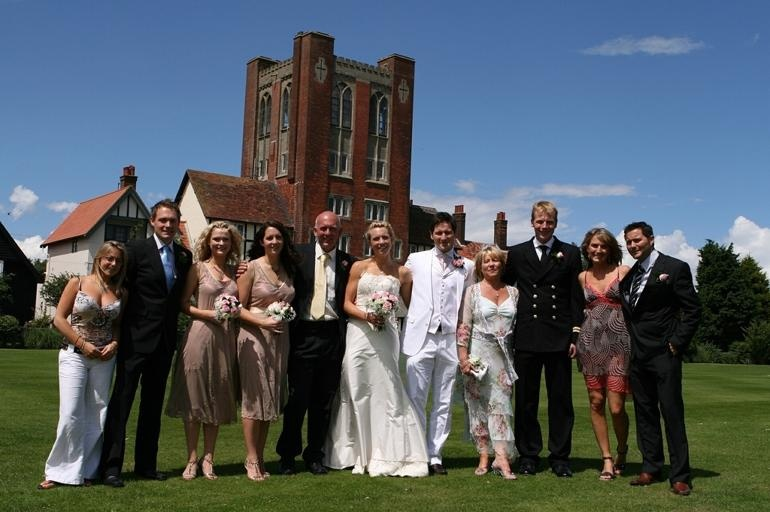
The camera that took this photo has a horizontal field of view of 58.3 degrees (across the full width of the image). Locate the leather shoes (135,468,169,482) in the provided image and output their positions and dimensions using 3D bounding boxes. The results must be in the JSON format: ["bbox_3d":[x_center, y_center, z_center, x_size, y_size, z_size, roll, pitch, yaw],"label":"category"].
[{"bbox_3d":[-3.167,2.944,9.308,0.433,0.176,0.163,-5,-8,15],"label":"leather shoes"}]

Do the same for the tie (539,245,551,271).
[{"bbox_3d":[2.362,0.013,10.093,0.101,0.408,0.117,-1,-19,14],"label":"tie"}]

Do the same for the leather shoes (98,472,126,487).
[{"bbox_3d":[-3.546,2.900,8.983,0.330,0.129,0.181,0,0,28],"label":"leather shoes"}]

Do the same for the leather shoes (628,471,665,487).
[{"bbox_3d":[3.570,3.013,9.377,0.509,0.209,0.172,13,-18,-28],"label":"leather shoes"}]

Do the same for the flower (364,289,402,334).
[{"bbox_3d":[-0.038,0.802,9.824,0.467,0.489,0.480,15,33,39],"label":"flower"}]

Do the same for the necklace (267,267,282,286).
[{"bbox_3d":[-1.565,0.301,9.720,0.178,0.254,0.066,0,-22,-46],"label":"necklace"}]

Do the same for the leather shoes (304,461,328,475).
[{"bbox_3d":[-0.984,3.019,9.866,0.131,0.112,0.269,4,-12,-28],"label":"leather shoes"}]

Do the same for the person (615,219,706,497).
[{"bbox_3d":[3.770,1.309,9.463,1.007,3.544,0.712,0,0,25],"label":"person"}]

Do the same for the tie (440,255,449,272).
[{"bbox_3d":[0.884,0.103,10.289,0.163,0.235,0.068,2,-4,-7],"label":"tie"}]

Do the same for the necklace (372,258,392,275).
[{"bbox_3d":[-0.043,0.171,10.187,0.267,0.210,0.177,-3,-2,4],"label":"necklace"}]

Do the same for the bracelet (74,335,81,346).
[{"bbox_3d":[-4.013,1.105,8.973,0.070,0.116,0.017,0,0,-6],"label":"bracelet"}]

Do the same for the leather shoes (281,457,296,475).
[{"bbox_3d":[-1.387,2.939,9.816,0.204,0.390,0.227,1,-3,-12],"label":"leather shoes"}]

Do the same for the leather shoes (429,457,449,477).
[{"bbox_3d":[0.776,3.009,9.905,0.266,0.173,0.321,0,0,-26],"label":"leather shoes"}]

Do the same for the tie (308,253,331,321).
[{"bbox_3d":[-0.955,0.427,9.961,0.270,0.936,0.189,0,0,-4],"label":"tie"}]

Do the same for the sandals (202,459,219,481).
[{"bbox_3d":[-2.396,2.865,9.400,0.176,0.258,0.291,0,0,-25],"label":"sandals"}]

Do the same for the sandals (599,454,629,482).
[{"bbox_3d":[3.242,2.985,9.733,0.201,0.299,0.684,-5,-17,25],"label":"sandals"}]

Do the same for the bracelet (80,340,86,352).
[{"bbox_3d":[-3.943,1.156,8.976,0.045,0.127,0.086,10,-10,-42],"label":"bracelet"}]

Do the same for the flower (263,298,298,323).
[{"bbox_3d":[-1.448,0.741,9.445,0.291,0.224,0.296,17,-6,45],"label":"flower"}]

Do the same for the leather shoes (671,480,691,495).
[{"bbox_3d":[3.881,3.019,8.983,0.116,0.093,0.232,-2,-15,0],"label":"leather shoes"}]

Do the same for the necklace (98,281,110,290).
[{"bbox_3d":[-3.746,0.385,9.125,0.075,0.120,0.047,-29,-10,-12],"label":"necklace"}]

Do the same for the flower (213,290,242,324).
[{"bbox_3d":[-2.151,0.695,9.383,0.348,0.375,0.307,0,0,-17],"label":"flower"}]
